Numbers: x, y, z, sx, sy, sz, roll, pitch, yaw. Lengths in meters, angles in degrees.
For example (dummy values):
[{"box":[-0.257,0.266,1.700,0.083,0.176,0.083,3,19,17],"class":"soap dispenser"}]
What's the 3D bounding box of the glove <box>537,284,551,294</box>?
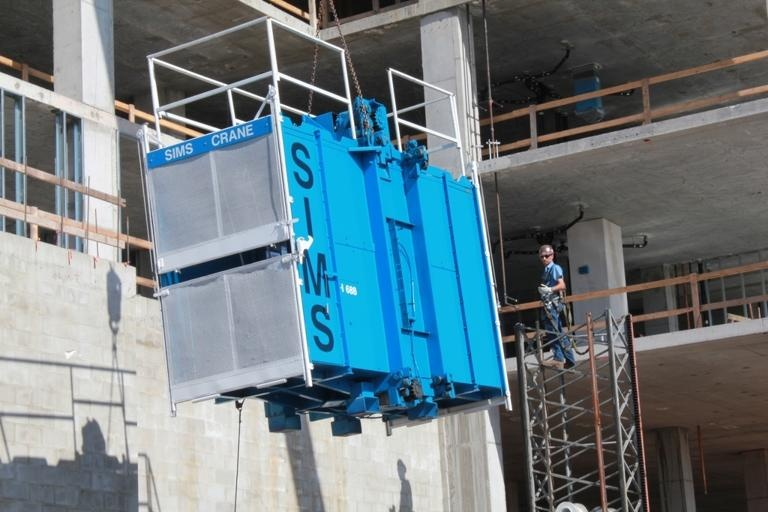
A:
[{"box":[4.341,0.878,58.571,0.319,0.316,0.573,-7,-13,10],"class":"glove"}]
